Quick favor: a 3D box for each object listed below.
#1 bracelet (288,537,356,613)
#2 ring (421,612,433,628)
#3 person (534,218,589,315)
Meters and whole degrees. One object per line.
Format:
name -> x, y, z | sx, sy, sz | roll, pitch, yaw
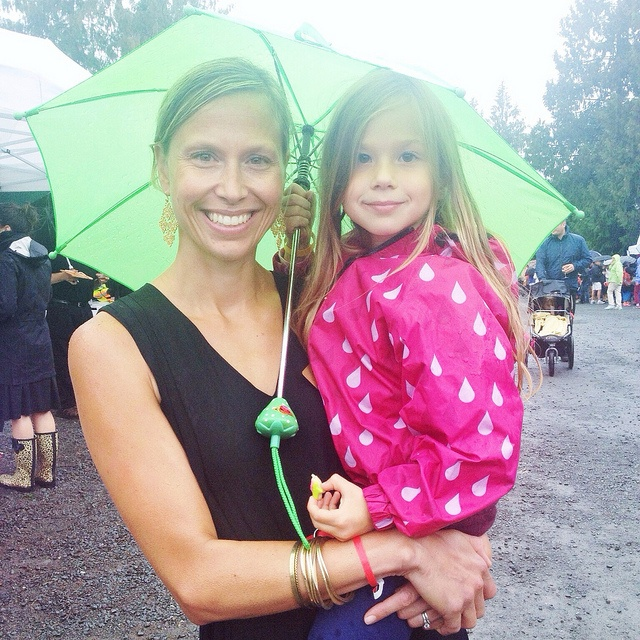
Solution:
bracelet -> -0.001, 0.598, 1.576 | 0.059, 0.140, 0.134 | -17, -9, 33
ring -> 0.271, 0.772, 1.710 | 0.014, 0.040, 0.029 | -15, 1, -35
person -> 3.865, -0.640, 10.544 | 0.747, 2.074, 0.625 | -2, 7, 12
